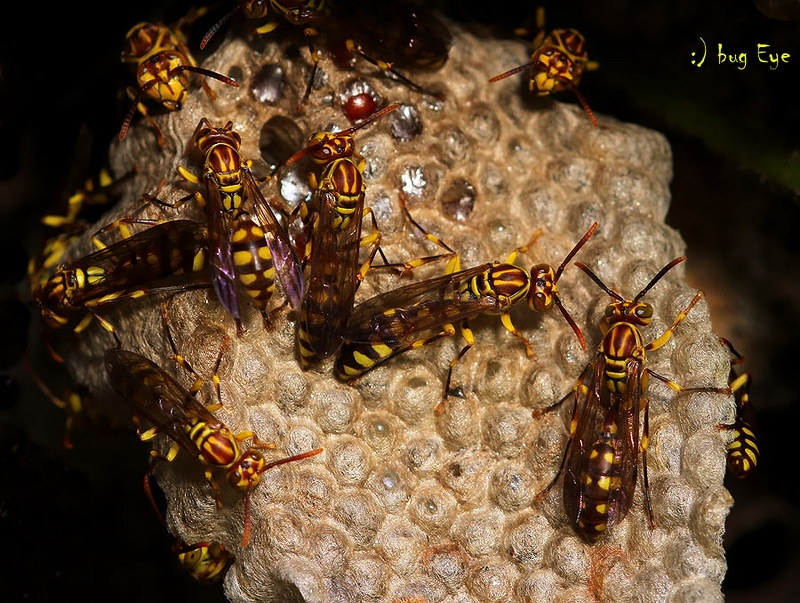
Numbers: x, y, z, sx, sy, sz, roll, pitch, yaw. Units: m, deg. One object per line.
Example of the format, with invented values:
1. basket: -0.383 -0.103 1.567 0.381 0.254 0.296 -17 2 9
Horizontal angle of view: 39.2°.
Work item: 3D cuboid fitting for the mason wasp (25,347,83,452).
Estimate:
1. mason wasp: -1.574 0.456 5.154 0.340 0.100 0.268 35 52 13
